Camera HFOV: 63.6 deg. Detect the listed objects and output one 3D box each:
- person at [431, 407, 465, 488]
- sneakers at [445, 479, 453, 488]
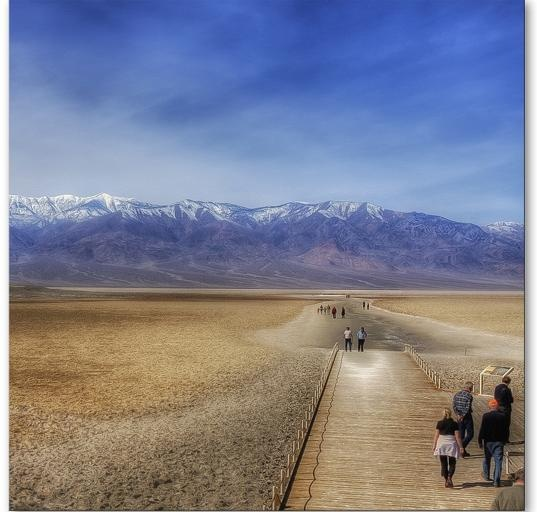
[{"bbox_3d":[4.177,4.452,10.079,0.579,1.936,0.827,0,-1,22],"label":"person"},{"bbox_3d":[4.186,5.310,10.049,0.107,0.260,0.116,-12,-16,26],"label":"sneakers"}]
